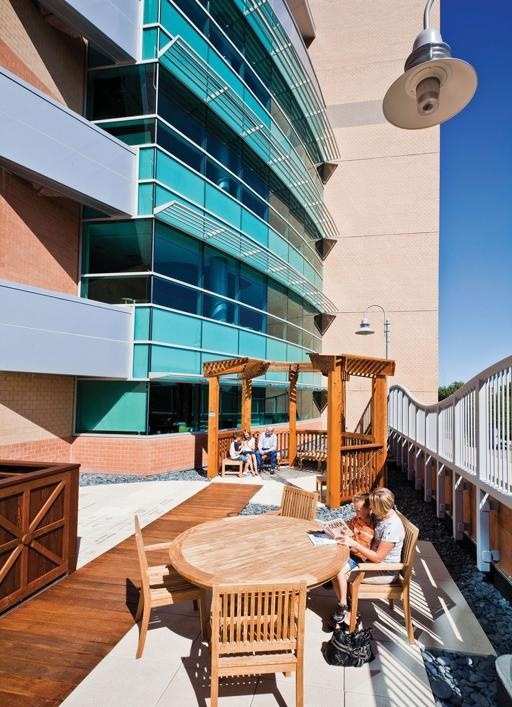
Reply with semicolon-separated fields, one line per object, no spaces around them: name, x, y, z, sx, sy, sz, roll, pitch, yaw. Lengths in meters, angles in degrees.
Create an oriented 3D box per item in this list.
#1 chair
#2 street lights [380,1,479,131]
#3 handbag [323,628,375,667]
chair;-0.139;1.982;4.381;1.688;1.079;2.139;2;-7;-13
street lights;1.037;-1.701;3.324;0.573;0.466;0.406;-4;-8;35
handbag;0.725;2.306;4.226;0.407;0.309;0.231;4;2;2
